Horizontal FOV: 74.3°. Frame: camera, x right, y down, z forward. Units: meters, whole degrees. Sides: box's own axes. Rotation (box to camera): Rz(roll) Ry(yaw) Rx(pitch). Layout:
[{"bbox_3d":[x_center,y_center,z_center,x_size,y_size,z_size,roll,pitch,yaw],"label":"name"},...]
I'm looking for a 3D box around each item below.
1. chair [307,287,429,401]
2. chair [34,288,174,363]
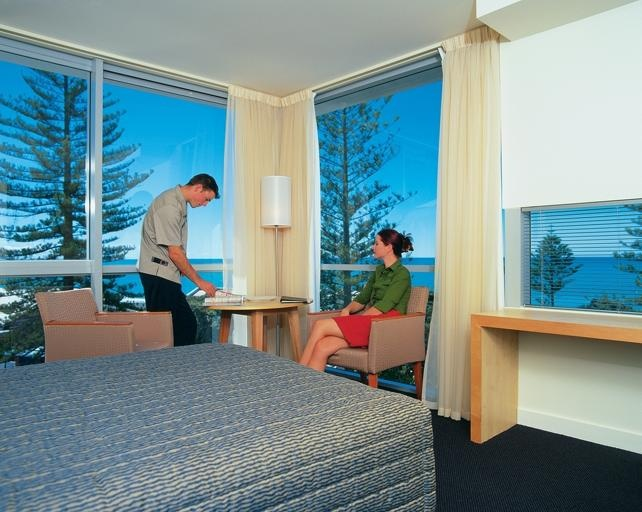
[{"bbox_3d":[0.460,0.732,3.607,0.865,0.895,0.705,2,-2,-38],"label":"chair"},{"bbox_3d":[-1.569,0.438,3.203,0.758,0.873,0.632,-2,-3,10],"label":"chair"}]
